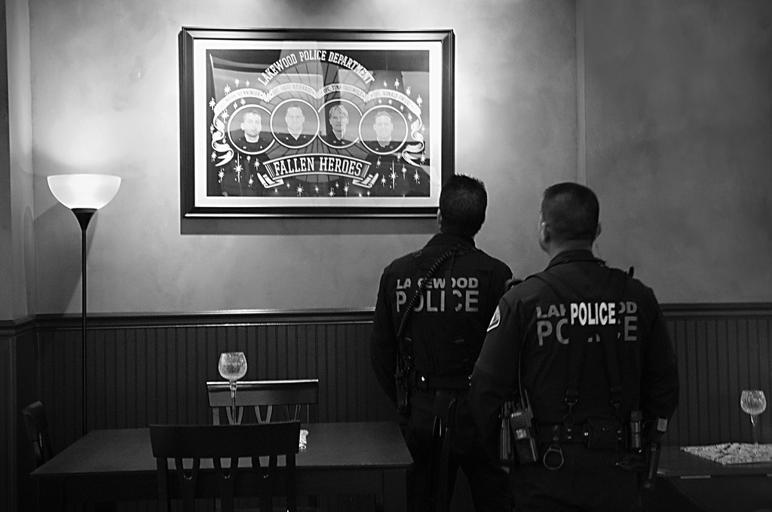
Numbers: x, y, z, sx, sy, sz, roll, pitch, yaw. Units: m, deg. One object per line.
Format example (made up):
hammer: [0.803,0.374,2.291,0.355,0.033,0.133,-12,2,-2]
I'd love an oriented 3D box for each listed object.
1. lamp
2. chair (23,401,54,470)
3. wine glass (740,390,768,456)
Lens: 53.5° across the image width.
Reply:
lamp: [-2.054,0.340,5.262,0.445,1.816,0.344,1,3,-12]
chair: [-1.951,1.027,4.306,0.098,0.388,0.187,-5,10,-3]
wine glass: [2.186,0.978,4.570,0.122,0.359,0.229,3,3,28]
